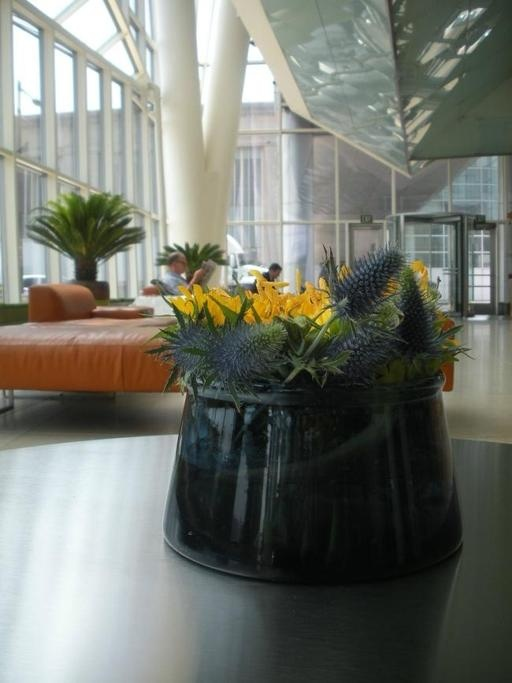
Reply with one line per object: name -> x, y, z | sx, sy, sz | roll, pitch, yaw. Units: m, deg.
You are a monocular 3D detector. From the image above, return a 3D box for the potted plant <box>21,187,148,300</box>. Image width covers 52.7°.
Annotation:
potted plant -> -2.430, -1.285, 7.483 | 1.504, 1.527, 1.542 | -7, -5, 28

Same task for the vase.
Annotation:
vase -> 0.023, 0.060, 0.291 | 0.124, 0.069, 0.122 | 1, 2, -2
